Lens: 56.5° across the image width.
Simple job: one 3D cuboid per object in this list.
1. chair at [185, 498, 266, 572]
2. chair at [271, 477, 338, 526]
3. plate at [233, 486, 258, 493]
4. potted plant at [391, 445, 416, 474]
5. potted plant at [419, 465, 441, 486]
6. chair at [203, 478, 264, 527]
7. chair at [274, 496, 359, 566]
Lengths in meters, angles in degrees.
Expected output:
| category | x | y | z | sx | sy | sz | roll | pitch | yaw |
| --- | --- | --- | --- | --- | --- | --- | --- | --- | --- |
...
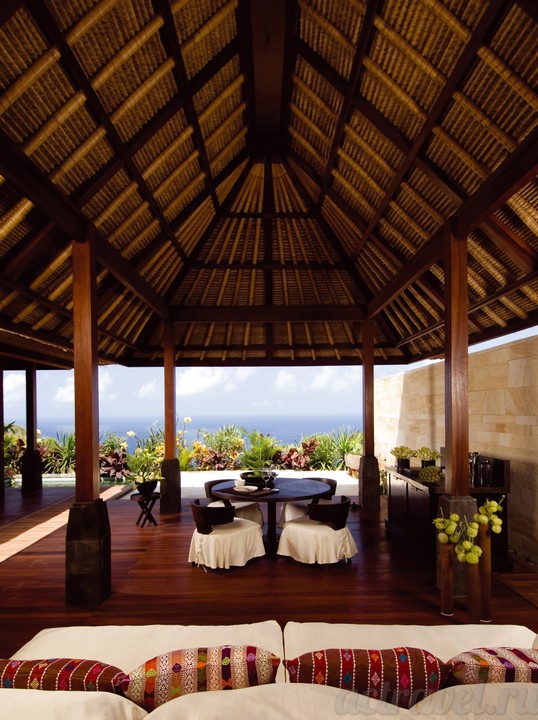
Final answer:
| category | x | y | z | sx | sy | sz | roll | pitch | yaw |
| --- | --- | --- | --- | --- | --- | --- | --- | --- | --- |
| chair | -0.395 | 1.617 | 4.819 | 0.646 | 0.566 | 0.661 | 2 | 5 | 44 |
| chair | 0.395 | 1.613 | 5.558 | 0.659 | 0.688 | 0.547 | 2 | -6 | 14 |
| plate | -0.227 | 1.284 | 5.026 | 0.241 | 0.022 | 0.391 | -1 | -6 | 1 |
| potted plant | 1.618 | 1.114 | 5.741 | 0.340 | 0.390 | 0.340 | 0 | -10 | 0 |
| potted plant | 1.528 | 1.085 | 4.730 | 0.155 | 0.151 | 0.148 | -1 | -11 | -2 |
| chair | -0.418 | 1.589 | 5.821 | 0.603 | 0.835 | 0.666 | -5 | -4 | -11 |
| chair | 0.480 | 1.588 | 4.947 | 0.670 | 0.616 | 0.689 | 0 | -3 | 30 |
